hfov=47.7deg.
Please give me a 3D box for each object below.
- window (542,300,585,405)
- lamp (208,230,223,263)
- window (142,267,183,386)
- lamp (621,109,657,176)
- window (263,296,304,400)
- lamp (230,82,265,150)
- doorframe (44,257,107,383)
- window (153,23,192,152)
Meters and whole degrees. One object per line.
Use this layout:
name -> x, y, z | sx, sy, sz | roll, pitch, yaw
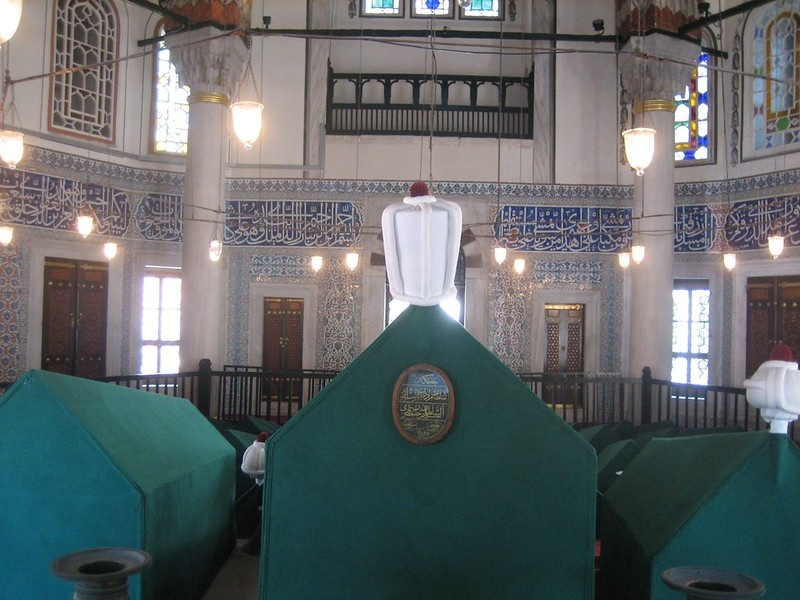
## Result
window -> 2.204, 0.776, 12.209 | 0.551, 1.579, 0.191 | -1, -29, 14
lamp -> -2.070, -0.610, 10.139 | 0.130, 0.362, 0.187 | 0, -2, -22
window -> -3.232, 0.236, 12.182 | 0.526, 1.470, 0.096 | -1, 39, -18
lamp -> 2.138, -1.509, 8.028 | 0.297, 0.823, 0.291 | -5, 6, -41
window -> -1.592, 0.639, 12.349 | 0.568, 1.610, 0.142 | 1, 24, -9
lamp -> -1.346, -1.676, 7.955 | 0.272, 0.711, 0.267 | -1, -1, -40
doorframe -> -4.084, 0.216, 11.344 | 0.183, 1.465, 0.891 | -2, -3, 34
window -> -3.098, -2.713, 12.206 | 0.459, 1.502, 0.176 | 1, -3, -31
